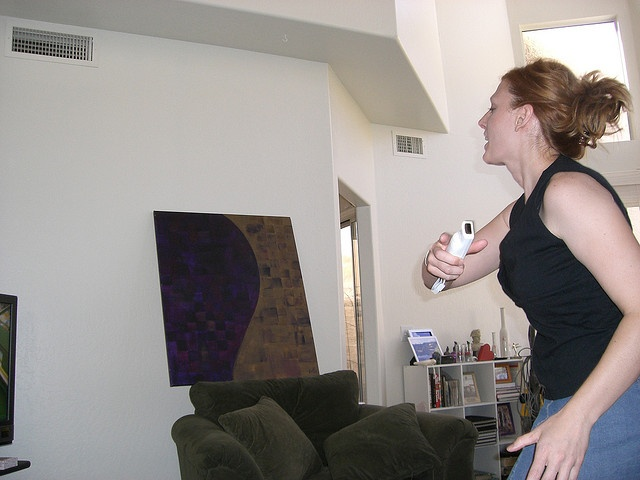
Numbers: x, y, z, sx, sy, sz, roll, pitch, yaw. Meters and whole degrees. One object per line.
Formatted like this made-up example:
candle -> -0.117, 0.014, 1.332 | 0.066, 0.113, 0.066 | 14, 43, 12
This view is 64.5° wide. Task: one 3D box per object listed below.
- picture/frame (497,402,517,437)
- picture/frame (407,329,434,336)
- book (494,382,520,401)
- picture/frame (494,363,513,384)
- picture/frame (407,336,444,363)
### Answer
picture/frame -> 1.850, 1.817, 5.120 | 0.183, 0.295, 0.066 | 2, -18, -21
picture/frame -> 0.993, 0.931, 5.058 | 0.208, 0.024, 0.157 | 5, 10, -3
book -> 1.848, 1.519, 5.020 | 0.235, 0.126, 0.177 | 2, -12, -19
picture/frame -> 1.840, 1.355, 5.091 | 0.228, 0.242, 0.023 | 1, -19, -30
picture/frame -> 1.013, 1.077, 4.931 | 0.291, 0.304, 0.023 | 1, -34, -22
